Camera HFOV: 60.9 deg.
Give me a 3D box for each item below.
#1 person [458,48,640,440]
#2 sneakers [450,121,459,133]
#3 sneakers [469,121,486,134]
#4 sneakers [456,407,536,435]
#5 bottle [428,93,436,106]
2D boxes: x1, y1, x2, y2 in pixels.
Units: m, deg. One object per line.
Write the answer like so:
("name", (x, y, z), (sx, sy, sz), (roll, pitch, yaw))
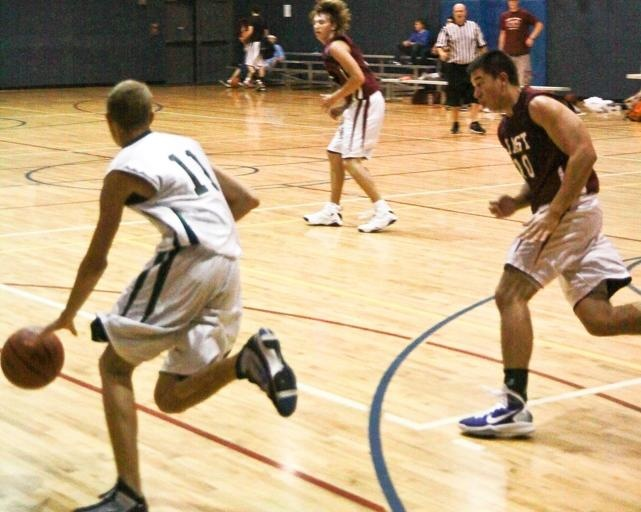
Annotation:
("person", (0.985, -0.073, 2.264), (0.775, 1.548, 0.586), (2, 12, 3))
("sneakers", (3.146, -2.997, 12.705), (0.172, 0.277, 0.471), (4, 12, 12))
("sneakers", (3.663, -3.033, 12.862), (0.224, 0.211, 0.507), (-16, 19, -36))
("sneakers", (0.704, 0.648, 2.220), (0.336, 0.137, 0.115), (1, 5, 0))
("bottle", (3.832, -5.430, 18.837), (0.341, 0.505, 0.328), (-1, 11, 0))
